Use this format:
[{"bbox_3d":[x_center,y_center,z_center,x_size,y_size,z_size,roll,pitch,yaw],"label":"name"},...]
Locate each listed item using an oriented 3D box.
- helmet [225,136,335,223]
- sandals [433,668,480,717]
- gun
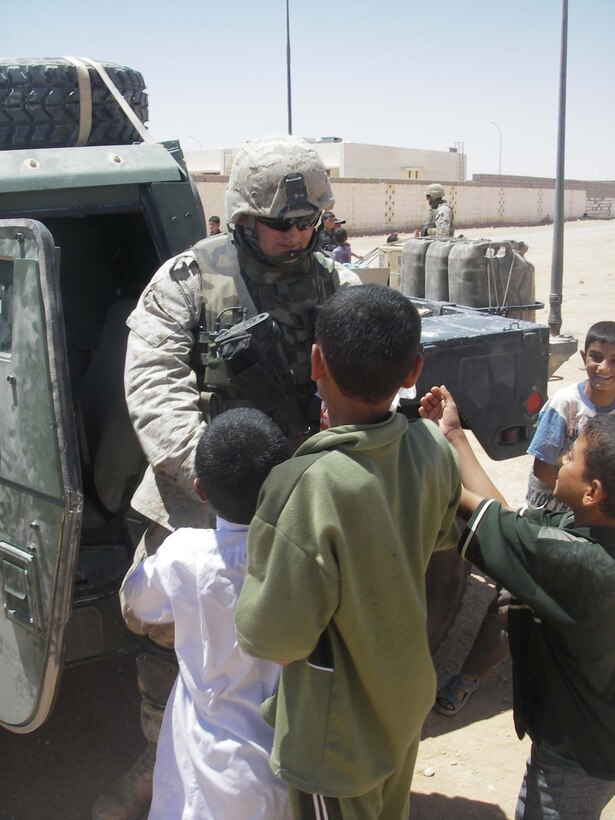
[{"bbox_3d":[-0.084,-0.675,2.081,0.296,0.223,0.323,5,29,11],"label":"helmet"},{"bbox_3d":[0.538,1.027,2.596,0.083,0.081,0.229,8,10,29],"label":"sandals"},{"bbox_3d":[-0.146,-0.137,1.822,0.141,0.207,0.131,-20,45,6],"label":"gun"}]
